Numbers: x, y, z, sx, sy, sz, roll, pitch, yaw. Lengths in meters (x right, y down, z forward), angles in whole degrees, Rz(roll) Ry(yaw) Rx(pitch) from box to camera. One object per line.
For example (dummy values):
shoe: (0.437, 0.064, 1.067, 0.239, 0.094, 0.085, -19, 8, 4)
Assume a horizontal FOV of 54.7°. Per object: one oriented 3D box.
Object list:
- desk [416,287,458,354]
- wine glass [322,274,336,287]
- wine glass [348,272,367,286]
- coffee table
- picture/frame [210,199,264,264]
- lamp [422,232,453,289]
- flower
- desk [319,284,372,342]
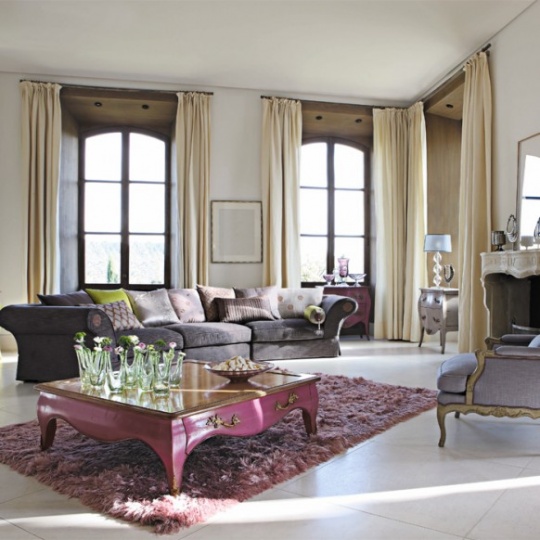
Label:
desk: (2.124, 0.608, 6.380, 0.452, 0.711, 0.620, 3, 0, -10)
wine glass: (0.809, 0.149, 7.289, 0.180, 0.139, 0.170, 2, -4, -43)
wine glass: (1.232, 0.124, 7.401, 0.231, 0.119, 0.228, 1, -1, 22)
coffee table: (-0.471, 0.768, 2.863, 1.012, 0.344, 1.146, 1, 1, 39)
picture/frame: (-0.478, -0.504, 6.881, 0.927, 0.970, 0.049, 0, -3, -13)
lamp: (2.212, -0.128, 6.886, 0.340, 0.730, 1.036, 1, 1, 18)
flower: (-0.766, 0.512, 2.832, 0.487, 0.280, 0.643, 2, -4, -15)
desk: (1.191, 0.592, 7.321, 0.618, 0.660, 0.425, 2, 0, 28)
